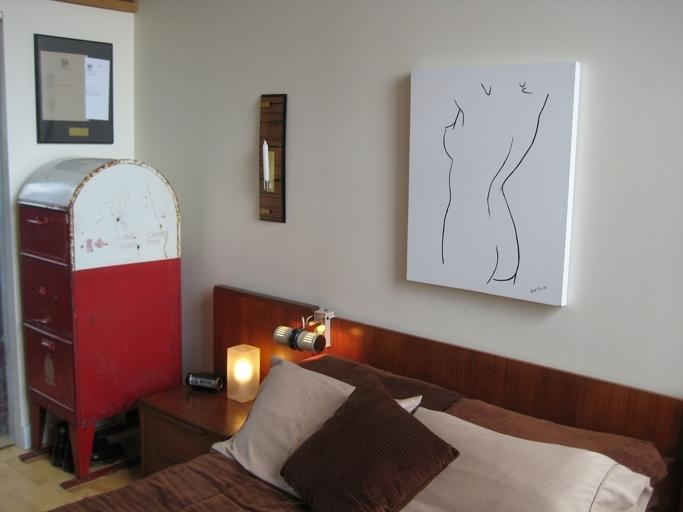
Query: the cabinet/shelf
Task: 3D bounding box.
[{"bbox_3d":[-1.570,0.360,3.450,0.694,1.937,0.775,14,14,41],"label":"cabinet/shelf"}]
